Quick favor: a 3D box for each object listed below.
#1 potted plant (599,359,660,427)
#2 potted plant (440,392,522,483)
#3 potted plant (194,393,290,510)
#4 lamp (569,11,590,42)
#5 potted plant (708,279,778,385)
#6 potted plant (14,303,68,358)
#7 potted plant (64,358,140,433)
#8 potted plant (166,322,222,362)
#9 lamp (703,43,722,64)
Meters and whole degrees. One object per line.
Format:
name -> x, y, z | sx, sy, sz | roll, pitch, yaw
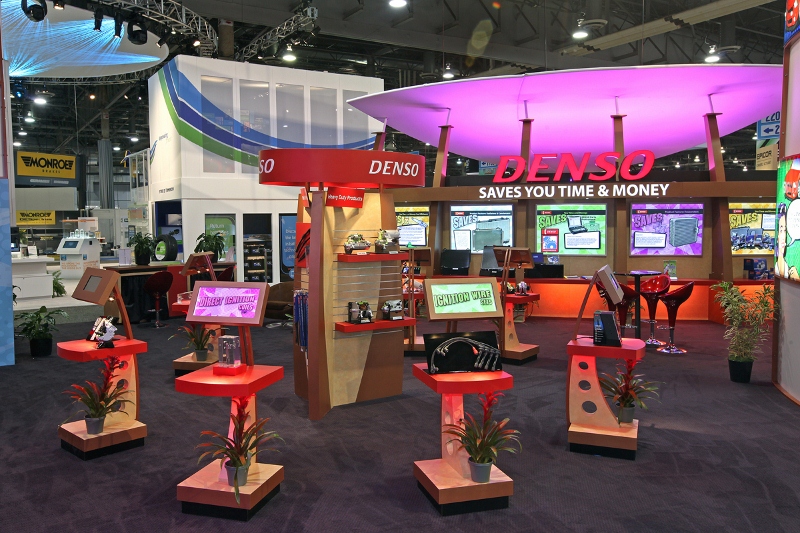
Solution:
potted plant -> 2.761, 1.597, 7.203 | 0.877, 0.516, 0.689 | 6, -3, -30
potted plant -> 0.842, 1.916, 6.145 | 0.737, 0.496, 0.712 | 5, -8, 2
potted plant -> -1.682, 1.987, 6.250 | 1.010, 0.824, 1.004 | -4, -4, 42
lamp -> 4.294, -5.697, 14.018 | 0.325, 0.679, 1.348 | 3, 14, 15
potted plant -> 5.167, 0.972, 8.933 | 0.711, 1.415, 0.615 | 8, 16, 30
potted plant -> -6.193, 1.089, 10.229 | 0.797, 0.800, 0.802 | -6, -2, 14
potted plant -> -3.490, 1.526, 6.994 | 0.718, 0.822, 0.742 | 14, -19, -16
potted plant -> -3.207, 1.225, 9.493 | 0.901, 0.521, 1.015 | -7, -7, 3
lamp -> 7.734, -5.249, 14.579 | 0.285, 0.457, 1.134 | 6, 15, 25
